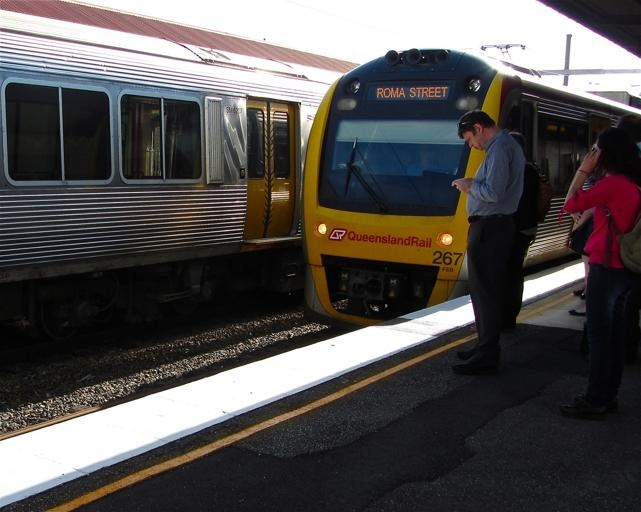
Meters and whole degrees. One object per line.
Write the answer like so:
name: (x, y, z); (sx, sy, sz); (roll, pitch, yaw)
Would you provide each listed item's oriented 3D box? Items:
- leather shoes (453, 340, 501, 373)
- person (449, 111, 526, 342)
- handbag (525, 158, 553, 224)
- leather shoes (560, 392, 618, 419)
leather shoes: (1.285, 0.849, 3.982); (0.254, 0.160, 0.330); (1, 1, 13)
person: (1.302, -0.212, 3.818); (0.506, 1.810, 0.329); (3, 7, 19)
handbag: (1.882, -0.539, 4.206); (0.190, 0.534, 0.361); (4, 8, 30)
leather shoes: (1.718, 0.986, 3.215); (0.392, 0.169, 0.149); (3, 4, 15)
